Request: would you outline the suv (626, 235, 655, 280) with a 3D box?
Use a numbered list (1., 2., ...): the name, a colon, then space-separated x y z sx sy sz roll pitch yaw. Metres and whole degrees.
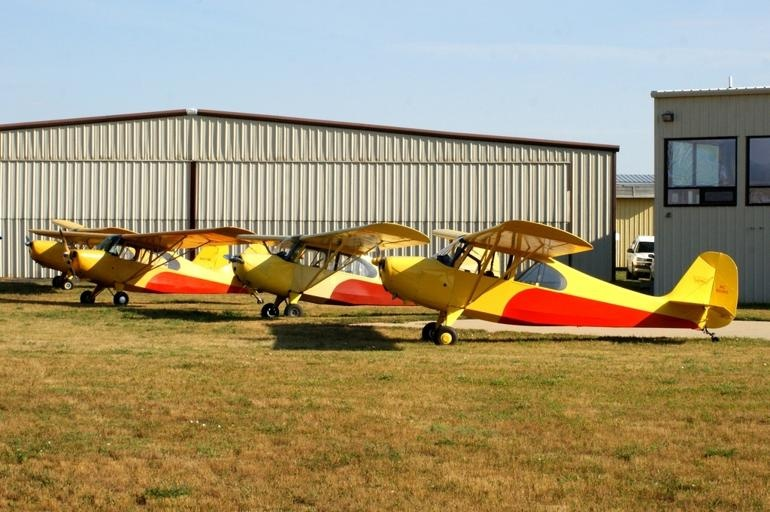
1. suv: 9.251 -0.139 40.083 1.205 0.971 2.438 -3 14 11
